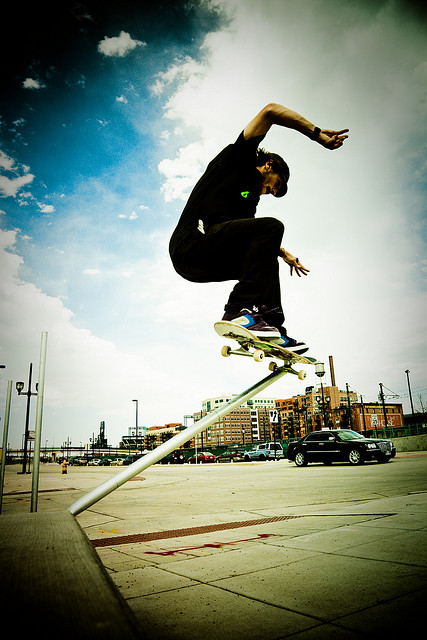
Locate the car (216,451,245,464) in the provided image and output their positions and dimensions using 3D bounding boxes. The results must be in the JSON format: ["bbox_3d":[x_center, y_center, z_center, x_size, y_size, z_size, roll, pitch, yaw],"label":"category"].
[{"bbox_3d":[1.386,13.150,45.001,1.493,1.060,3.229,16,-18,-41],"label":"car"}]

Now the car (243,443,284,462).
[{"bbox_3d":[4.362,11.125,39.630,2.267,1.658,6.592,-1,-13,-11],"label":"car"}]

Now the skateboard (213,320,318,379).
[{"bbox_3d":[0.284,0.220,2.999,0.806,0.178,0.299,26,-23,-28],"label":"skateboard"}]

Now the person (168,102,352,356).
[{"bbox_3d":[0.271,-0.634,3.493,1.111,1.731,1.469,3,-23,-2],"label":"person"}]

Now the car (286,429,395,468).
[{"bbox_3d":[4.572,4.796,17.530,1.267,1.355,4.187,4,-14,-29],"label":"car"}]
